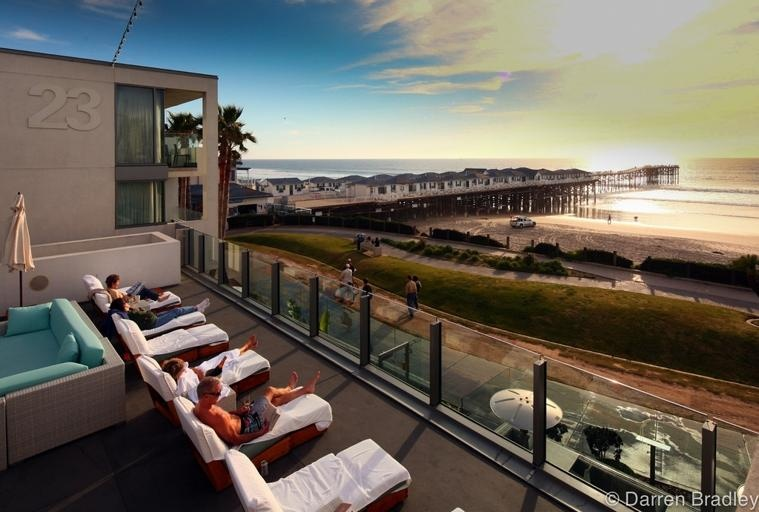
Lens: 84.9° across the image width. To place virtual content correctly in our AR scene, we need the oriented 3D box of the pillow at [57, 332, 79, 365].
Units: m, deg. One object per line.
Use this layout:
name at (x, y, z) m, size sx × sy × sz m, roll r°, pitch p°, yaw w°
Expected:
pillow at (-5.635, 1.675, 7.502) m, size 0.207 × 0.369 × 0.580 m, roll 10°, pitch -4°, yaw -40°

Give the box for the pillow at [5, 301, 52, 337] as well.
pillow at (-7.884, 1.441, 9.300) m, size 0.723 × 0.593 × 0.262 m, roll -4°, pitch 0°, yaw -38°

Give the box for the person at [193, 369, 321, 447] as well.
person at (-1.994, 2.386, 6.840) m, size 0.958 × 0.971 × 2.140 m, roll 0°, pitch -2°, yaw 40°

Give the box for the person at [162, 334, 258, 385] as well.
person at (-3.154, 1.973, 7.784) m, size 1.671 × 0.594 × 0.623 m, roll -6°, pitch 10°, yaw -45°

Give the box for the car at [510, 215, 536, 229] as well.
car at (23.851, -5.427, 69.409) m, size 4.305 × 1.422 × 2.348 m, roll -5°, pitch 14°, yaw -31°

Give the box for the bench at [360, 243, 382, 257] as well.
bench at (-0.794, -0.525, 37.289) m, size 1.324 × 0.816 × 2.248 m, roll -6°, pitch 14°, yaw -32°

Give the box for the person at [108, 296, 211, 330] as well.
person at (-5.263, 1.354, 10.028) m, size 0.645 × 0.822 × 2.030 m, roll -26°, pitch -8°, yaw 36°

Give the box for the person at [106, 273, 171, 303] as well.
person at (-6.692, 0.832, 11.327) m, size 1.769 × 0.941 × 0.779 m, roll -3°, pitch 7°, yaw -33°
